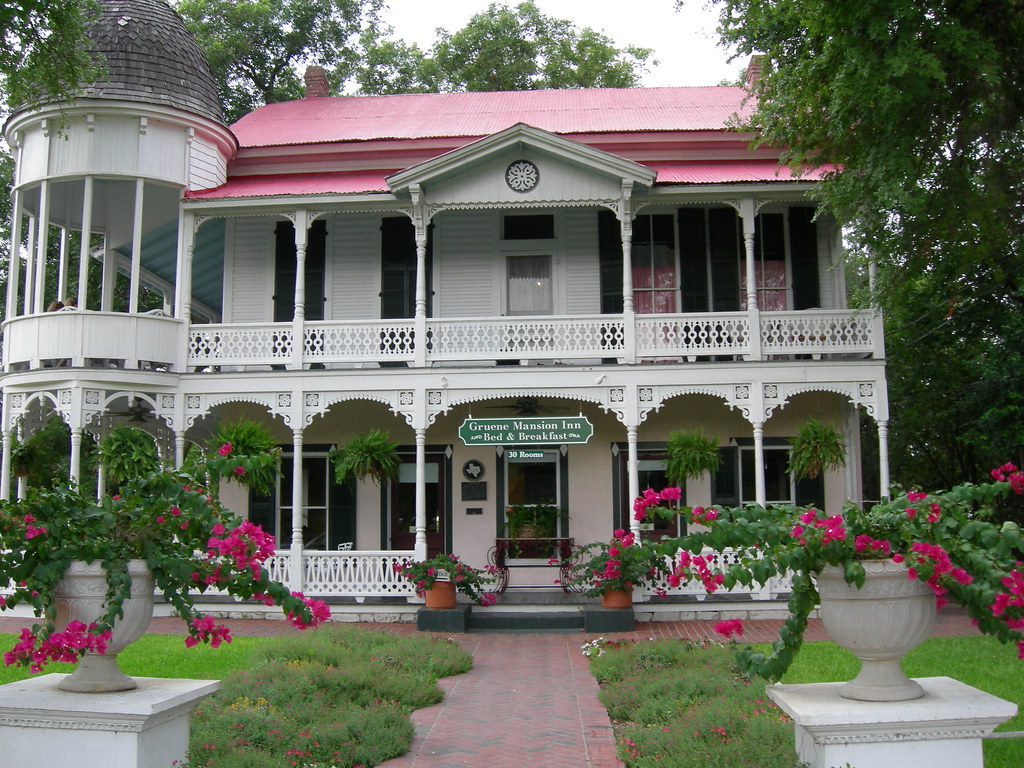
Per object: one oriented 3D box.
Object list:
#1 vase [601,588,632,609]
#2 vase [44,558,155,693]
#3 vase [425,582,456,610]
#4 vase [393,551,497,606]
[{"bbox_3d":[1.778,3.635,20.812,0.337,0.227,0.345,2,-11,-10],"label":"vase"},{"bbox_3d":[-4.266,2.534,12.761,1.155,1.277,1.173,1,-13,-8],"label":"vase"},{"bbox_3d":[-1.233,3.626,21.103,0.431,0.335,0.446,0,-8,1],"label":"vase"},{"bbox_3d":[-1.212,3.392,21.379,1.298,0.720,0.992,-1,-7,13],"label":"vase"}]
